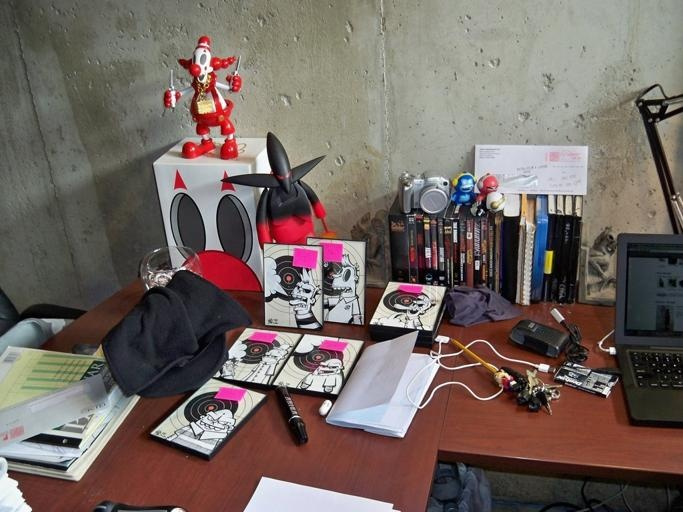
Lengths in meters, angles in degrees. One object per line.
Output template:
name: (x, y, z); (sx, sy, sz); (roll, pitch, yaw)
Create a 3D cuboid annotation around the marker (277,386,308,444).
marker: (-0.141, 0.432, 1.503); (0.049, 0.053, 0.211); (-22, 36, -12)

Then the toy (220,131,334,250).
toy: (-0.223, -0.219, 1.844); (0.340, 0.388, 0.181); (-8, 16, -10)

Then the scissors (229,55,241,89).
scissors: (-0.375, -0.641, 1.918); (0.047, 0.116, 0.163); (-7, 16, -6)

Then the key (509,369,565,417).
key: (0.518, 0.367, 1.524); (0.138, 0.097, 0.149); (-3, 22, -6)

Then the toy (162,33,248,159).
toy: (-0.449, -0.550, 1.950); (0.231, 0.503, 0.225); (11, 28, 18)

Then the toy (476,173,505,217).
toy: (0.480, -0.200, 1.782); (0.107, 0.129, 0.113); (-10, 13, -40)

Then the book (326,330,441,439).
book: (0.127, 0.355, 1.535); (0.218, 0.105, 0.306); (6, 37, 22)

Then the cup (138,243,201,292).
cup: (-0.601, 0.036, 1.899); (0.184, 0.171, 0.196); (4, 16, -1)
